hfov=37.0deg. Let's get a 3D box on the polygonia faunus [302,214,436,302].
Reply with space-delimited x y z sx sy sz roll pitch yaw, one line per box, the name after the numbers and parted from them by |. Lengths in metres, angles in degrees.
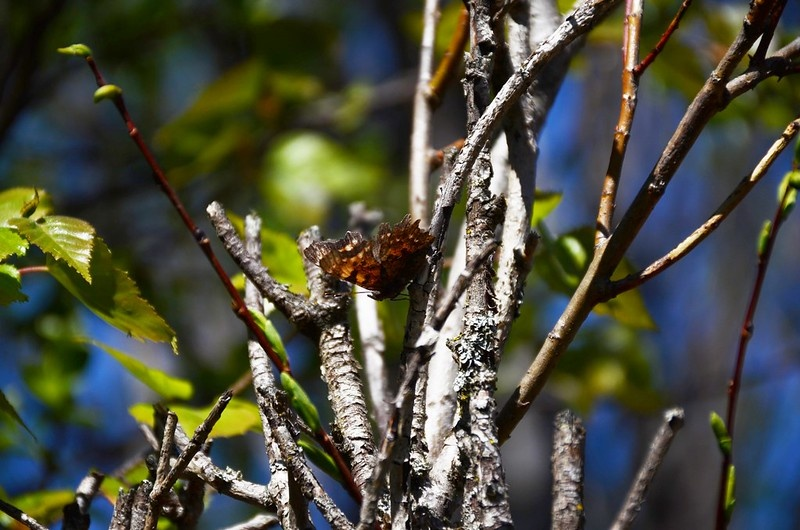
-0.055 -0.009 2.113 0.226 0.130 0.024 2 6 9 | polygonia faunus
